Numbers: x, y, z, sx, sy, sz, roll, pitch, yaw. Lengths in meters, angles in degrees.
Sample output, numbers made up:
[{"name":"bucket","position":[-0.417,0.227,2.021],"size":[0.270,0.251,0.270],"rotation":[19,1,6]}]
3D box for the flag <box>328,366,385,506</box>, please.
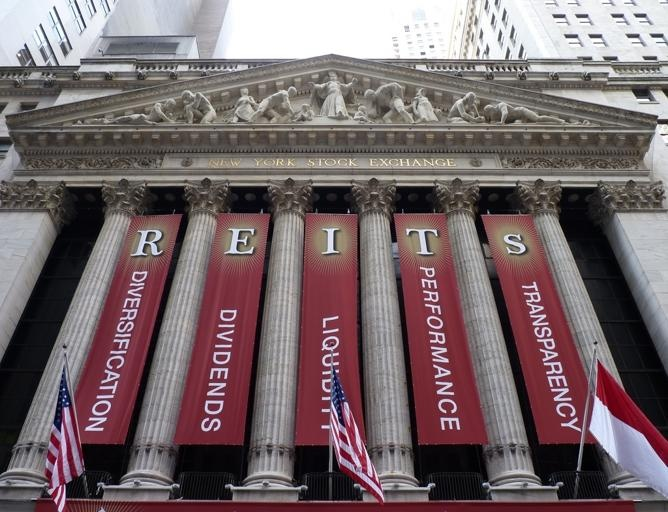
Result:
[{"name":"flag","position":[0.645,6.128,20.304],"size":[1.755,4.552,1.378],"rotation":[9,-44,-8]}]
